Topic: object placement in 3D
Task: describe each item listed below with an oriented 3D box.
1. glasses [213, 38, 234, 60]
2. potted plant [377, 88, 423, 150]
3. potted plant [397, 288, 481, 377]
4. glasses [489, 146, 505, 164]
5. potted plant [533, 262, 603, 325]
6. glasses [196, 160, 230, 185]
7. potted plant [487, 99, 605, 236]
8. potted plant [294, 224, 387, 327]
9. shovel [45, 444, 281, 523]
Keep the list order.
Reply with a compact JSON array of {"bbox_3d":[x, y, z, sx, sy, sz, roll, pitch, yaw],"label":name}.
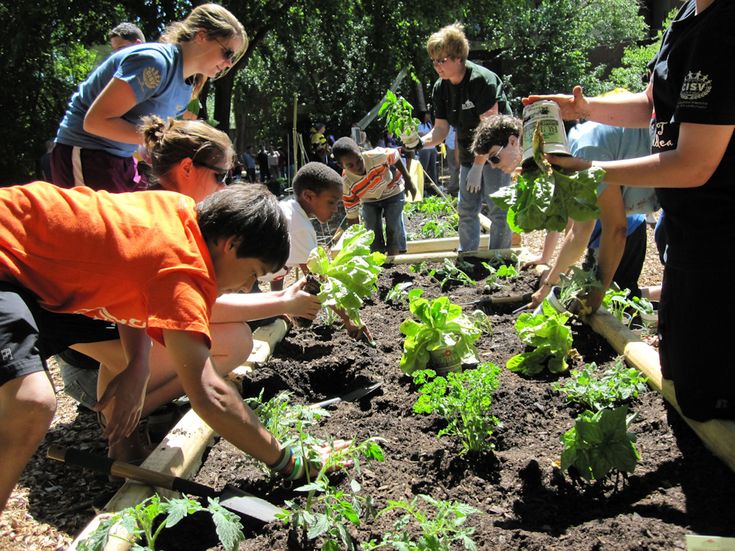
[{"bbox_3d":[-0.914,-1.437,3.450,0.032,0.110,0.105,-16,-7,12],"label":"glasses"},{"bbox_3d":[0.435,-1.930,6.826,0.480,0.760,0.388,-19,4,-17],"label":"potted plant"},{"bbox_3d":[0.407,0.393,3.008,0.422,0.521,0.391,-10,16,-33],"label":"potted plant"},{"bbox_3d":[0.998,-0.921,4.200,0.031,0.106,0.103,14,-3,-18],"label":"glasses"},{"bbox_3d":[1.224,0.122,3.298,0.215,0.257,0.364,23,8,-2],"label":"potted plant"},{"bbox_3d":[-0.840,-0.555,2.925,0.117,0.047,0.107,37,23,19],"label":"glasses"},{"bbox_3d":[0.823,-0.466,2.475,0.442,0.519,0.417,3,15,19],"label":"potted plant"},{"bbox_3d":[-0.160,-0.085,3.162,0.553,0.284,0.548,-24,43,11],"label":"potted plant"},{"bbox_3d":[-0.846,0.848,2.288,1.016,0.221,0.171,4,18,13],"label":"shovel"}]
